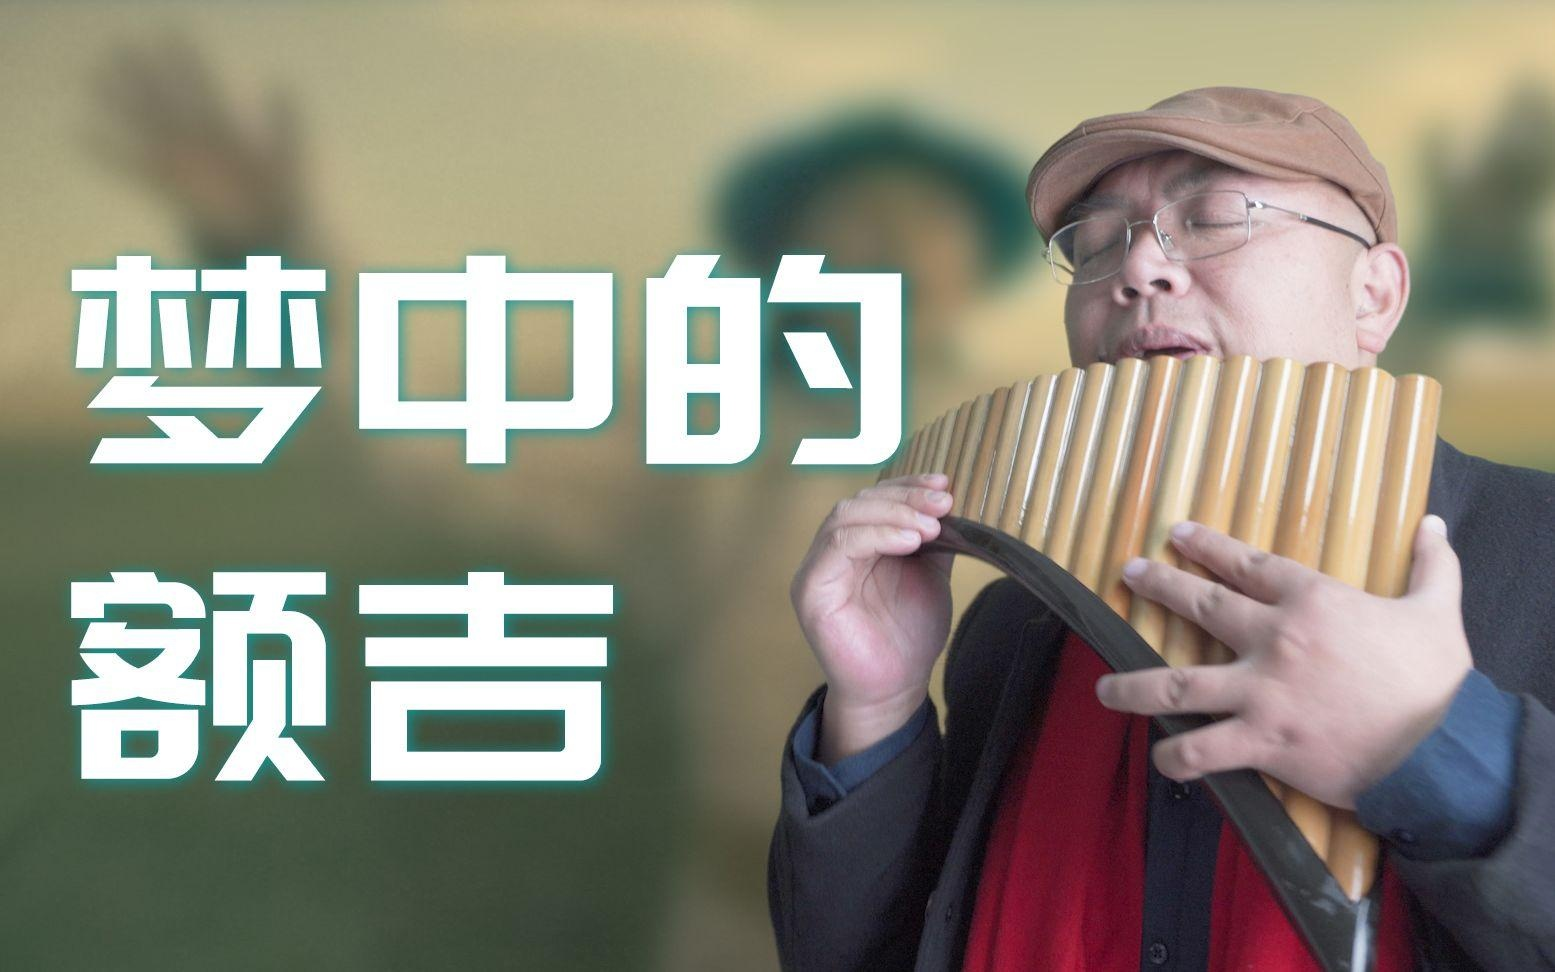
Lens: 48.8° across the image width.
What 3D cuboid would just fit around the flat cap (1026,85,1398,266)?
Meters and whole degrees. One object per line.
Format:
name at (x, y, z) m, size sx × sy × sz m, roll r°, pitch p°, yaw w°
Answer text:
flat cap at (0.831, -0.622, 3.151) m, size 0.441 × 0.144 × 0.366 m, roll 15°, pitch -16°, yaw -24°
